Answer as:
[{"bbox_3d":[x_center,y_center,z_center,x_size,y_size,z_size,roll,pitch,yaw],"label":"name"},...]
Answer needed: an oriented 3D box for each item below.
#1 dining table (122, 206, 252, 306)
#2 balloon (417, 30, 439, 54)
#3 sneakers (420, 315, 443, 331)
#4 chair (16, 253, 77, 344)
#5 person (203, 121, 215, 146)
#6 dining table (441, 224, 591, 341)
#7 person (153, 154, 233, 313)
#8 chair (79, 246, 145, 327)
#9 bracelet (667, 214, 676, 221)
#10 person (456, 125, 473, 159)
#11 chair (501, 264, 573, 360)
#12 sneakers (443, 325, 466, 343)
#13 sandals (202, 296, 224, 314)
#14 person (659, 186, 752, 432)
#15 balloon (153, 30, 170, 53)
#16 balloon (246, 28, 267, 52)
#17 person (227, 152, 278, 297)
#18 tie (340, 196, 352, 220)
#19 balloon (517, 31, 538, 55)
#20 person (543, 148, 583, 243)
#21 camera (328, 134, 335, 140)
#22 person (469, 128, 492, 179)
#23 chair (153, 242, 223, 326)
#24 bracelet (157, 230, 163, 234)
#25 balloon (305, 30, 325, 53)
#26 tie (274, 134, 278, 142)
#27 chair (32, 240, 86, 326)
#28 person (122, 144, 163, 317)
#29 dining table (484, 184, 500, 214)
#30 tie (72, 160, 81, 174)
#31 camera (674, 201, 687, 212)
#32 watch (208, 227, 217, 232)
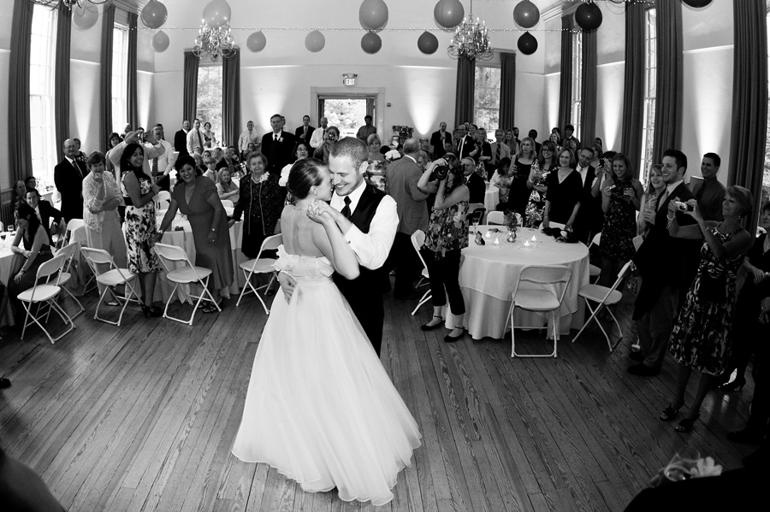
[{"bbox_3d":[-2.590,-0.116,7.563,1.177,1.129,1.377,0,10,-3],"label":"dining table"},{"bbox_3d":[1.013,-5.069,12.204,0.410,0.480,0.457,5,16,15],"label":"balloon"},{"bbox_3d":[0.585,0.826,6.500,0.251,0.127,0.140,-6,9,-33],"label":"sneakers"},{"bbox_3d":[-4.243,0.536,6.378,0.420,0.911,0.469,17,27,-7],"label":"chair"},{"bbox_3d":[-4.649,-3.212,13.535,0.247,0.597,1.099,-4,18,-18],"label":"person"},{"bbox_3d":[1.436,0.245,6.458,1.180,0.806,1.392,-2,15,0],"label":"dining table"},{"bbox_3d":[-2.539,-0.289,6.796,0.876,2.177,0.668,-18,30,-30],"label":"person"},{"bbox_3d":[-3.624,0.411,6.871,0.442,0.980,0.634,9,28,6],"label":"chair"},{"bbox_3d":[2.724,-0.371,4.907,0.053,0.067,0.059,0,1,-8],"label":"bracelet"},{"bbox_3d":[1.788,-2.589,11.470,0.382,0.630,1.581,3,17,8],"label":"person"},{"bbox_3d":[1.735,0.612,5.932,0.482,1.103,0.753,-2,39,3],"label":"chair"},{"bbox_3d":[0.832,0.917,6.229,0.250,0.133,0.131,-14,16,-30],"label":"sneakers"},{"bbox_3d":[-2.283,0.644,6.941,0.381,0.172,0.176,-7,0,24],"label":"sandals"},{"bbox_3d":[2.842,0.465,4.589,0.514,2.180,0.522,12,18,39],"label":"person"},{"bbox_3d":[-5.611,-5.381,12.837,0.314,0.474,0.868,-1,17,-5],"label":"balloon"},{"bbox_3d":[-3.369,-5.524,13.498,0.470,0.762,0.386,3,9,-4],"label":"balloon"},{"bbox_3d":[-1.832,-0.558,7.352,0.711,1.953,0.610,0,32,-8],"label":"person"},{"bbox_3d":[-0.306,-0.375,4.000,0.055,0.209,0.052,-1,-3,9],"label":"tie"},{"bbox_3d":[3.149,-4.772,11.476,0.354,0.445,0.406,-2,16,-10],"label":"balloon"},{"bbox_3d":[2.535,-0.625,7.448,0.435,1.853,0.476,7,40,21],"label":"person"},{"bbox_3d":[-0.990,-2.185,9.491,0.106,0.071,0.168,-1,14,-2],"label":"camera"},{"bbox_3d":[2.243,-2.195,12.299,0.430,1.746,0.485,4,7,6],"label":"person"},{"bbox_3d":[-2.592,0.347,6.788,0.454,1.000,0.628,11,31,18],"label":"chair"},{"bbox_3d":[-2.865,-0.315,6.545,0.052,0.030,0.071,-3,8,-24],"label":"bracelet"},{"bbox_3d":[-1.801,-5.449,12.995,0.404,0.480,0.428,-4,16,-16],"label":"balloon"},{"bbox_3d":[-2.509,-2.731,11.836,0.073,0.135,0.028,-6,5,-4],"label":"tie"},{"bbox_3d":[-4.251,0.360,6.656,0.561,1.036,0.535,9,22,-4],"label":"chair"},{"bbox_3d":[-3.112,-0.322,6.580,0.417,2.201,0.493,-7,15,-27],"label":"person"},{"bbox_3d":[2.054,-1.115,10.055,0.428,0.584,0.498,-1,6,-4],"label":"dining table"},{"bbox_3d":[-5.437,-1.562,9.041,0.067,0.069,0.543,-11,44,-29],"label":"tie"},{"bbox_3d":[2.717,-0.460,4.729,0.094,0.076,0.040,14,59,39],"label":"camera"},{"bbox_3d":[-2.249,-0.341,6.676,0.050,0.056,0.065,8,58,6],"label":"watch"}]
